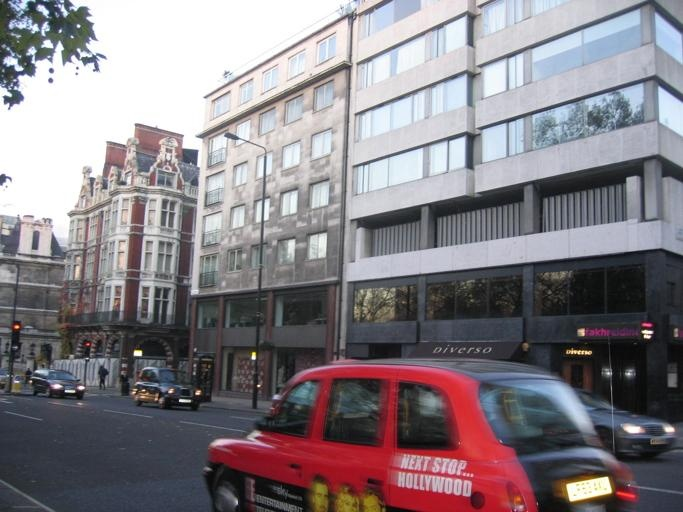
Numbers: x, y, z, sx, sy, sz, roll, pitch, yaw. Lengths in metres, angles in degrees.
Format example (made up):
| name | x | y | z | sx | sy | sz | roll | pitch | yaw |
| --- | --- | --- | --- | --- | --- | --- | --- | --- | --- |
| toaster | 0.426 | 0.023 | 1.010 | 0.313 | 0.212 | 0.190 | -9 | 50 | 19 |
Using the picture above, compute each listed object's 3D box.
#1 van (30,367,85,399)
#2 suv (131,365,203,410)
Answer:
| name | x | y | z | sx | sy | sz | roll | pitch | yaw |
| --- | --- | --- | --- | --- | --- | --- | --- | --- | --- |
| van | -16.277 | 7.293 | 35.892 | 1.737 | 1.231 | 3.972 | 10 | -16 | -32 |
| suv | -8.436 | 6.325 | 30.128 | 1.856 | 1.508 | 3.434 | 10 | -16 | -35 |
